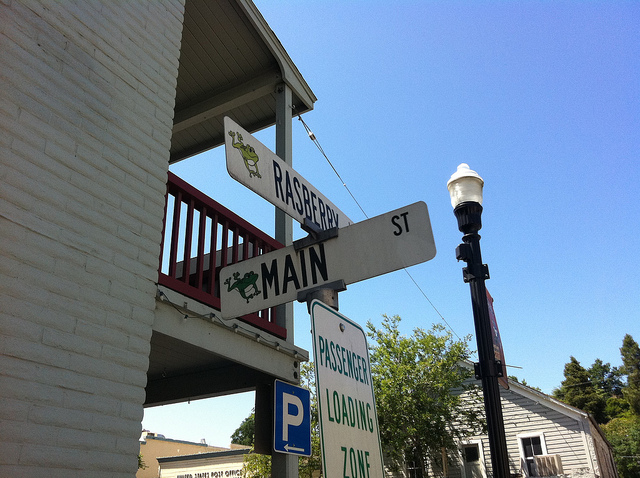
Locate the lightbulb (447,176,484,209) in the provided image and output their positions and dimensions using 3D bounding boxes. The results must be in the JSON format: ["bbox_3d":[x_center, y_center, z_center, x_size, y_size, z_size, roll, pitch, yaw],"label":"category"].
[{"bbox_3d":[1.689,-0.562,5.882,0.437,0.414,0.495,-6,-16,16],"label":"lightbulb"}]

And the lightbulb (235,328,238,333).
[{"bbox_3d":[-0.969,1.050,5.837,0.016,0.043,0.044,-11,-30,15],"label":"lightbulb"}]

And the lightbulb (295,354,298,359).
[{"bbox_3d":[-0.310,1.535,6.623,0.033,0.034,0.066,-1,-31,-3],"label":"lightbulb"}]

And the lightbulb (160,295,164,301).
[{"bbox_3d":[-1.609,0.599,5.145,0.030,0.062,0.032,-1,-2,9],"label":"lightbulb"}]
